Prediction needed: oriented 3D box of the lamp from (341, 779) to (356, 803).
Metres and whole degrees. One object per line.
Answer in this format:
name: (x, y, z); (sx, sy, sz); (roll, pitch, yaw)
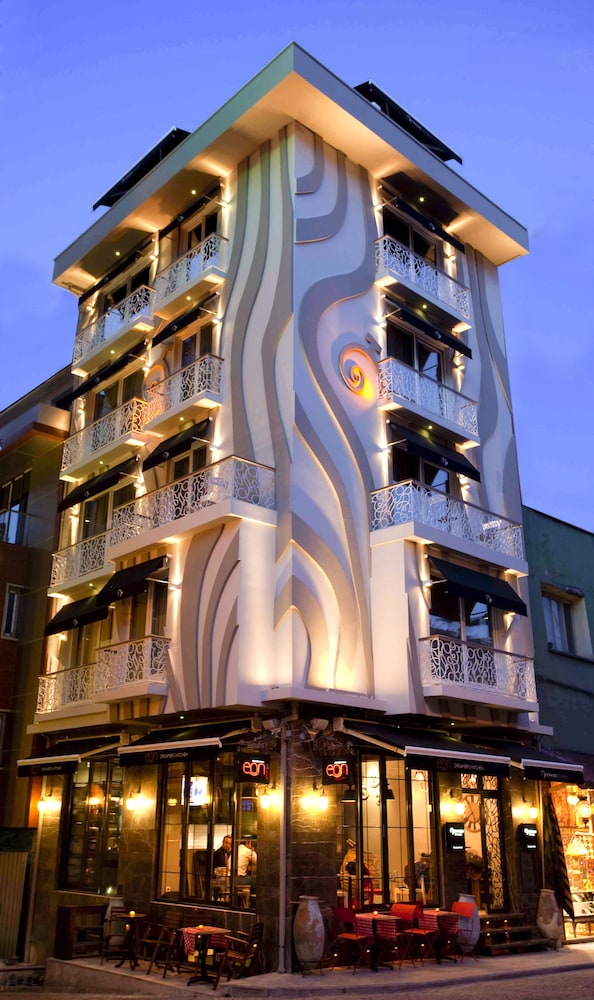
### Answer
lamp: (0.812, 4.640, 11.842); (0.108, 0.319, 0.298); (-20, -30, 39)

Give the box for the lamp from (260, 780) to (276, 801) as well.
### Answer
lamp: (-0.436, 4.315, 10.991); (0.085, 0.255, 0.449); (10, -27, -25)

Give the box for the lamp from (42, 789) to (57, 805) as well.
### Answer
lamp: (-5.734, 6.854, 17.227); (0.180, 0.384, 0.170); (11, -36, -20)

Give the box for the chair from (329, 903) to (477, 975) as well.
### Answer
chair: (1.616, 6.317, 10.856); (1.291, 0.817, 2.862); (-17, -29, 31)

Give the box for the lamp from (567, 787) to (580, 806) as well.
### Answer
lamp: (6.208, 6.636, 16.721); (0.265, 0.390, 0.631); (-9, -25, 18)

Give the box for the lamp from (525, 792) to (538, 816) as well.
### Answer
lamp: (4.793, 6.226, 15.243); (0.277, 0.438, 0.111); (10, -28, -7)

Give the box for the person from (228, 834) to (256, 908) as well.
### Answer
person: (-0.823, 5.628, 11.302); (0.297, 0.893, 0.604); (16, -50, -10)
